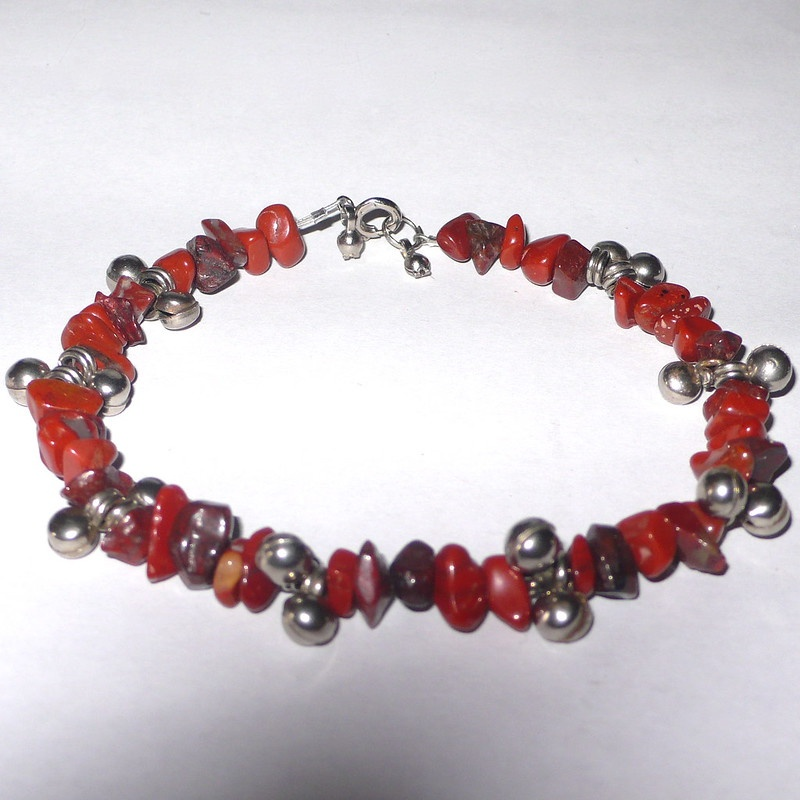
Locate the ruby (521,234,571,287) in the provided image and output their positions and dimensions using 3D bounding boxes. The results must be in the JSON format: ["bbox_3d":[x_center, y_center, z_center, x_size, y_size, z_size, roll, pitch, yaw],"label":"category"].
[{"bbox_3d":[0.301,-0.309,2.468,0.121,0.146,0.086,2,-109,-7],"label":"ruby"}]

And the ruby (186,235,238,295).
[{"bbox_3d":[-0.429,-0.304,2.425,0.102,0.044,0.133,-33,-69,-4],"label":"ruby"}]

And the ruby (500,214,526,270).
[{"bbox_3d":[0.254,-0.355,2.447,0.068,0.038,0.109,4,-87,4],"label":"ruby"}]

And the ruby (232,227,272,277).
[{"bbox_3d":[-0.328,-0.344,2.470,0.098,0.093,0.089,-9,-65,-14],"label":"ruby"}]

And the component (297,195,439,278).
[{"bbox_3d":[-0.064,-0.375,2.524,0.322,0.132,0.176,1,-105,-17],"label":"component"}]
